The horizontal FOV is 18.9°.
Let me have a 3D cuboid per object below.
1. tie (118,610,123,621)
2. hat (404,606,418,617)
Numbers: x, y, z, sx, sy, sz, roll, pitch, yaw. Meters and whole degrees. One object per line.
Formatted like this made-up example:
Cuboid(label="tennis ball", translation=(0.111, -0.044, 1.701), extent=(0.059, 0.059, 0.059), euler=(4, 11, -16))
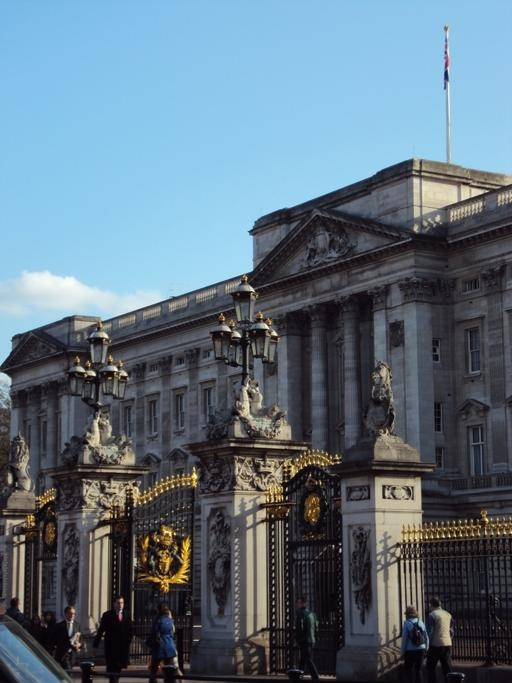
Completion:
Cuboid(label="tie", translation=(-1.865, 3.755, 21.043), extent=(0.073, 0.123, 0.028), euler=(-2, -11, -9))
Cuboid(label="hat", translation=(1.884, 3.239, 18.433), extent=(0.109, 0.147, 0.134), euler=(2, -17, -3))
